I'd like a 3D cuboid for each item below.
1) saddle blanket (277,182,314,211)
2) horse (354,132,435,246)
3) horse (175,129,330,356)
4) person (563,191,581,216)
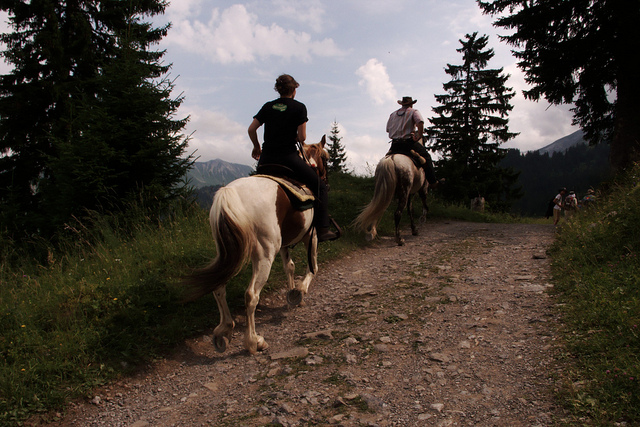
[{"bbox_3d":[-0.528,-0.411,11.278,0.239,0.705,0.839,3,14,45],"label":"saddle blanket"},{"bbox_3d":[2.749,-0.862,15.958,1.331,3.525,3.100,3,14,44],"label":"horse"},{"bbox_3d":[-1.447,0.702,11.434,2.023,4.559,4.027,-1,11,33],"label":"horse"},{"bbox_3d":[9.937,-0.385,18.582,0.515,0.936,0.929,-2,11,27],"label":"person"}]
